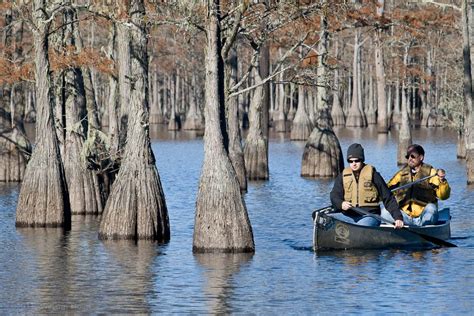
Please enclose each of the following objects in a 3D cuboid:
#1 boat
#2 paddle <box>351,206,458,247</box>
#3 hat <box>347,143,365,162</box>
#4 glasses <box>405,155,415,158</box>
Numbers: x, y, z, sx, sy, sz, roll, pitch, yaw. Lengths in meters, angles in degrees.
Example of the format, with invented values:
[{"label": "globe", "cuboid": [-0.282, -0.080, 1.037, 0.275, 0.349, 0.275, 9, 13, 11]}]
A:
[{"label": "boat", "cuboid": [4.001, 1.971, 27.469, 3.957, 0.997, 1.370, 2, -3, -12]}, {"label": "paddle", "cuboid": [4.409, 1.878, 27.316, 2.532, 0.096, 0.209, 22, -37, -3]}, {"label": "hat", "cuboid": [3.141, -0.155, 26.613, 0.437, 0.429, 0.473, 2, 0, 8]}, {"label": "glasses", "cuboid": [4.693, -0.043, 27.494, 0.156, 0.047, 0.145, 5, -8, -39]}]
